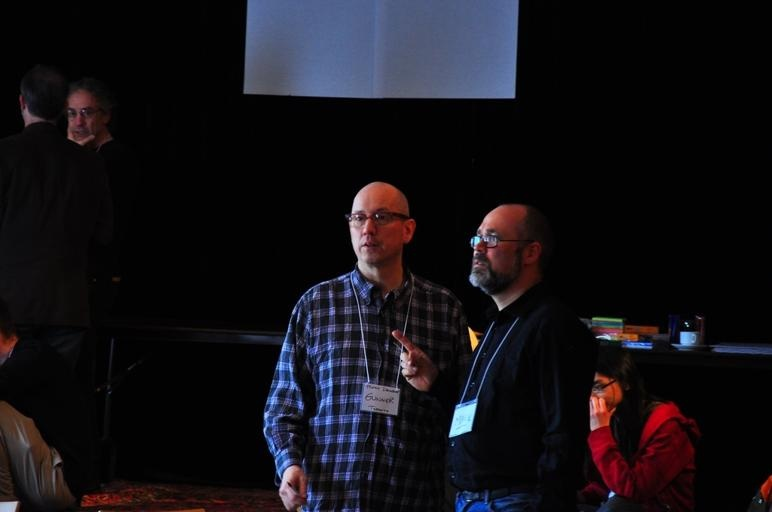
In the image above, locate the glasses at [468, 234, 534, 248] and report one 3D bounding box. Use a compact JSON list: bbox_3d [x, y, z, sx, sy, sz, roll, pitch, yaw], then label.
[{"bbox_3d":[0.560,-0.075,3.479,0.141,0.043,0.135,4,-4,-26],"label":"glasses"}]
